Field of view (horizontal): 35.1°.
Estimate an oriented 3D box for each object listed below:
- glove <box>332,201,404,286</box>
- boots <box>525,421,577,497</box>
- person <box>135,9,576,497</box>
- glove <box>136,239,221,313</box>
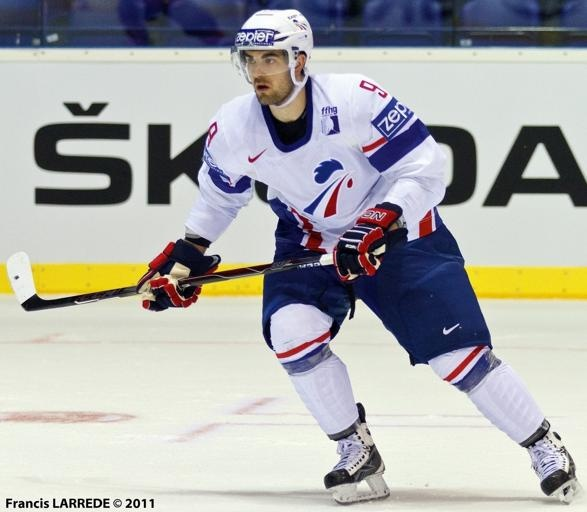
[{"bbox_3d":[0.230,-0.044,2.841,0.114,0.260,0.196,54,-9,-10],"label":"glove"},{"bbox_3d":[0.774,0.629,2.874,0.129,0.092,0.270,42,16,-15],"label":"boots"},{"bbox_3d":[0.164,-0.011,2.947,1.402,1.581,0.496,4,9,30],"label":"person"},{"bbox_3d":[-0.411,0.066,3.285,0.237,0.293,0.140,44,-11,-5],"label":"glove"}]
